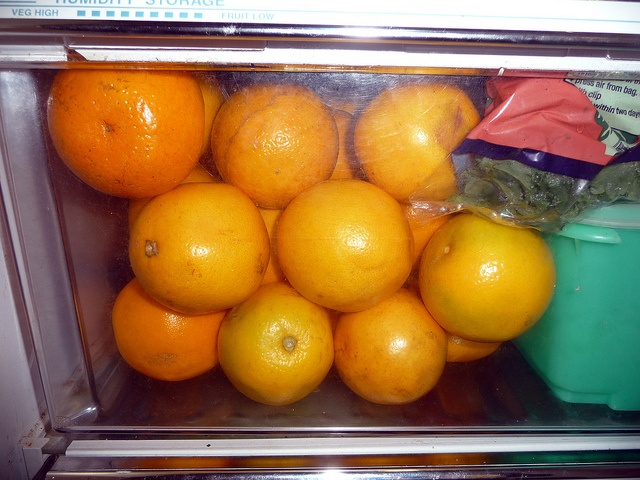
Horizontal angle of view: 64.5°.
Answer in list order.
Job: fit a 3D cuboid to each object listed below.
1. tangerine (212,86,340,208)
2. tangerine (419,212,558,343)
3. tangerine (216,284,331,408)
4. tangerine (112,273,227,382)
[{"bbox_3d":[-0.056,-0.126,0.778,0.147,0.157,0.173,-7,4,40],"label":"tangerine"},{"bbox_3d":[0.256,0.059,0.845,0.182,0.200,0.195,13,54,-15],"label":"tangerine"},{"bbox_3d":[-0.059,0.160,0.836,0.163,0.175,0.158,32,5,12],"label":"tangerine"},{"bbox_3d":[-0.259,0.152,0.887,0.163,0.167,0.161,30,29,-57],"label":"tangerine"}]
